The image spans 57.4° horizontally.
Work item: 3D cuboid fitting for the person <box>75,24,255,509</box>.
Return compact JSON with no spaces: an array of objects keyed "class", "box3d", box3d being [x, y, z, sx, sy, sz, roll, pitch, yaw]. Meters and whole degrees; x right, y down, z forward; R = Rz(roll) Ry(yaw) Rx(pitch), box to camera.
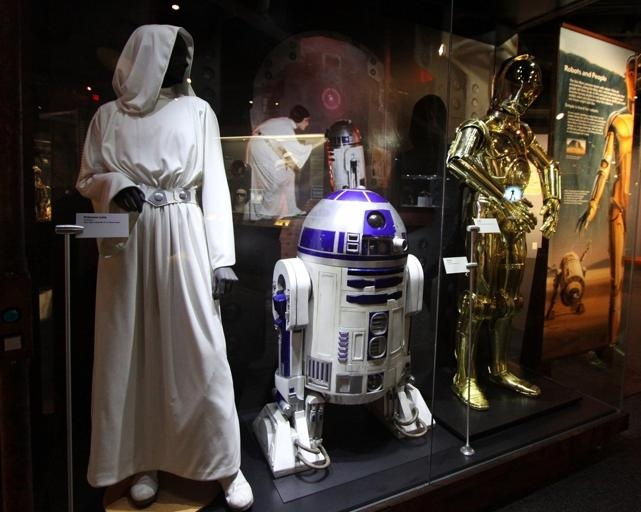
[{"class":"person","box3d":[-0.787,0.088,2.914,0.772,2.384,0.521,-3,10,-9]}]
